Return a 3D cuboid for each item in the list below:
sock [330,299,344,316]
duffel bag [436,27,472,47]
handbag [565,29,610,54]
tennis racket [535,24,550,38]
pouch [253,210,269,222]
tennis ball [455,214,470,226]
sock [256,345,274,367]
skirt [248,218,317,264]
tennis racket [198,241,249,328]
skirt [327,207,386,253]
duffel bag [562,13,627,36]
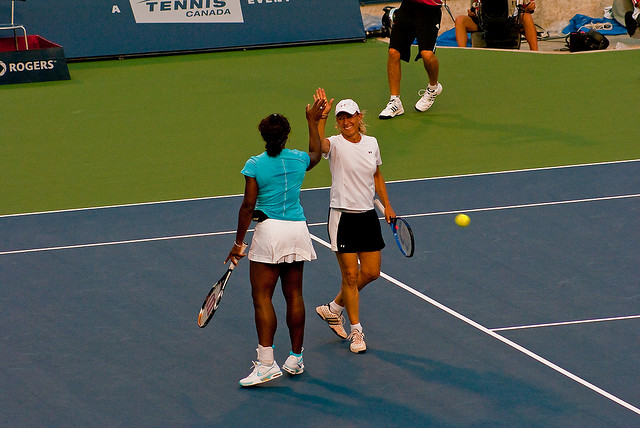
[{"bbox_3d":[0.193,1.097,8.863,0.141,0.155,0.118,4,25,18],"label":"sock"},{"bbox_3d":[3.421,-4.489,19.525,0.966,0.286,1.043,-2,37,10],"label":"duffel bag"},{"bbox_3d":[5.909,-3.862,17.042,0.982,0.430,0.766,9,2,36],"label":"handbag"},{"bbox_3d":[6.240,-5.192,21.633,0.357,0.225,0.638,-5,53,-4],"label":"tennis racket"},{"bbox_3d":[-0.645,0.039,8.265,0.114,0.126,0.139,9,20,-39],"label":"pouch"},{"bbox_3d":[1.932,0.072,10.330,0.157,0.091,0.160,-1,1,0],"label":"tennis ball"},{"bbox_3d":[-0.586,1.530,8.223,0.197,0.274,0.204,2,-7,-8],"label":"sock"},{"bbox_3d":[-0.389,0.291,8.207,0.710,0.493,0.475,-3,10,-22],"label":"skirt"},{"bbox_3d":[-1.105,0.703,8.460,0.570,0.461,0.996,-8,46,11],"label":"tennis racket"},{"bbox_3d":[0.413,0.187,8.767,0.613,0.479,0.358,-4,24,-1],"label":"skirt"},{"bbox_3d":[7.348,-5.039,20.355,1.362,0.459,1.645,-5,24,-3],"label":"duffel bag"}]
